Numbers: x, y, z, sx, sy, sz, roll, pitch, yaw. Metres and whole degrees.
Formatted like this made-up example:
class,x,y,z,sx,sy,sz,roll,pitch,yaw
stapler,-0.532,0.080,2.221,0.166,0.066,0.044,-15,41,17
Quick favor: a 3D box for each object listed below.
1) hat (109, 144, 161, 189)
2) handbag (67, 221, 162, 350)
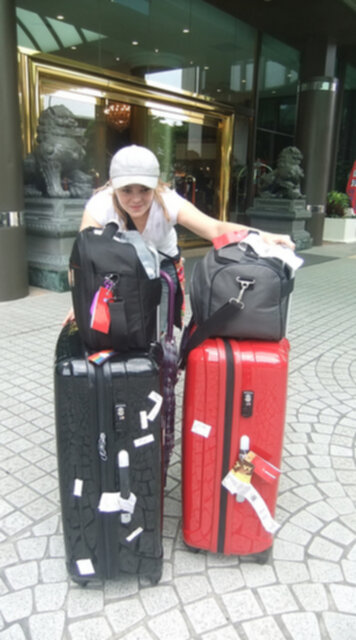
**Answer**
class,x,y,z,sx,sy,sz,roll,pitch,yaw
hat,-0.133,-0.491,1.422,0.140,0.153,0.201,4,10,13
handbag,-0.208,-0.121,1.349,0.280,0.432,0.308,-4,10,-17
